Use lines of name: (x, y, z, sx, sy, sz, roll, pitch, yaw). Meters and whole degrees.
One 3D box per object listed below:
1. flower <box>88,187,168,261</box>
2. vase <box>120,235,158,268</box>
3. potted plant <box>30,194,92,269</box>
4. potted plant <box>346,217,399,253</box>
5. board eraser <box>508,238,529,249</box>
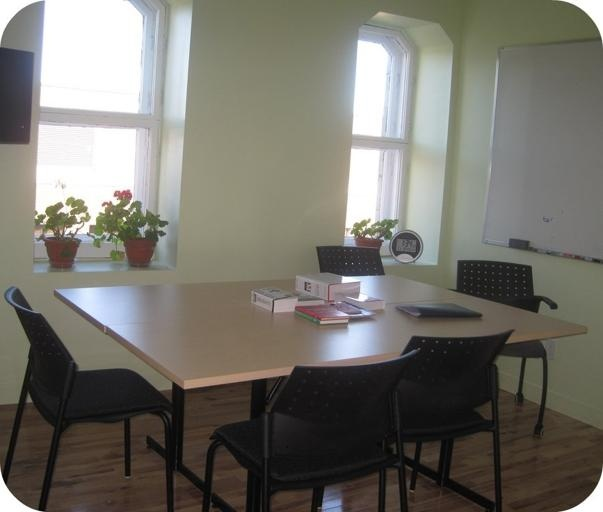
flower: (-1.188, -0.215, 3.492, 0.514, 0.501, 0.392, 3, 10, -11)
vase: (-1.088, -0.033, 3.360, 0.192, 0.172, 0.198, 1, 0, -4)
potted plant: (-1.566, -0.174, 3.282, 0.330, 0.444, 0.442, -1, 11, -28)
potted plant: (0.600, -0.197, 4.353, 0.288, 0.235, 0.323, 3, -3, -8)
board eraser: (1.639, -0.096, 3.736, 0.085, 0.086, 0.020, 11, 8, 37)
